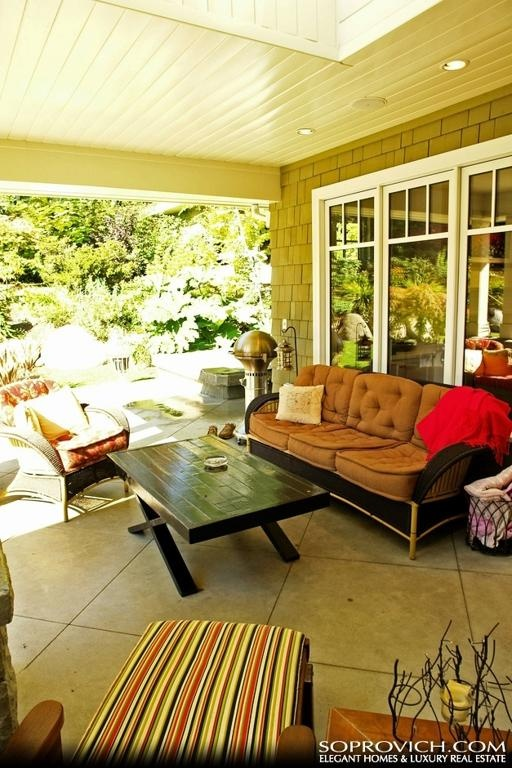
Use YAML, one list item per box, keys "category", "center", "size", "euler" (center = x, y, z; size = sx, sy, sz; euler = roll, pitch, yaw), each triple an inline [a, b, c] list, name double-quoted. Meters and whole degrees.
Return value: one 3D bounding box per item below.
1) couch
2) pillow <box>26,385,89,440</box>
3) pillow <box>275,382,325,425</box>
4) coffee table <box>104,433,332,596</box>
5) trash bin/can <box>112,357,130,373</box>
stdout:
- category: "couch"
  center: [0.759, 0.355, 3.956]
  size: [0.975, 0.827, 2.088]
  euler: [-5, 12, -31]
- category: "pillow"
  center: [-1.579, 0.223, 4.118]
  size: [0.404, 0.358, 0.353]
  euler: [10, 10, 9]
- category: "pillow"
  center: [0.378, 0.171, 4.458]
  size: [0.604, 0.443, 0.268]
  euler: [7, 13, 40]
- category: "coffee table"
  center: [-0.287, 0.723, 3.070]
  size: [0.896, 0.438, 1.498]
  euler: [-5, 10, -25]
- category: "trash bin/can"
  center: [-2.745, -0.404, 10.234]
  size: [0.310, 0.253, 0.305]
  euler: [-1, 5, -5]
